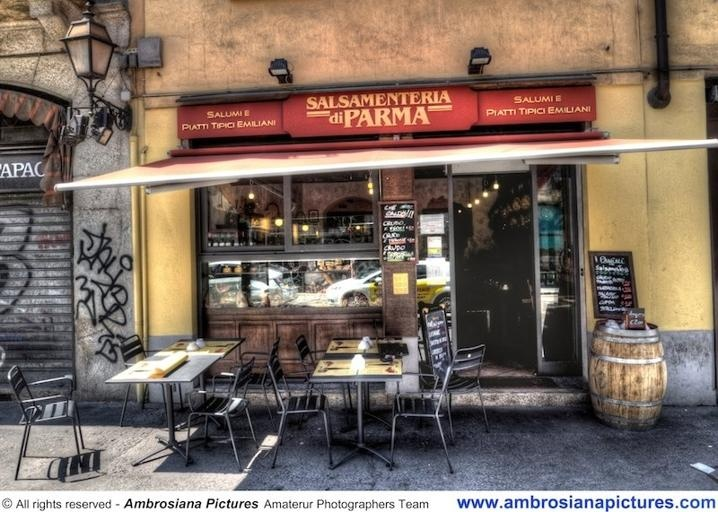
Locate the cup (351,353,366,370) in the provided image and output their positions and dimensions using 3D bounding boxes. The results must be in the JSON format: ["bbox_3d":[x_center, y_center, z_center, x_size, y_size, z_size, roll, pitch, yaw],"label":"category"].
[{"bbox_3d":[-0.004,1.521,9.805,0.176,0.186,0.173,0,-15,0],"label":"cup"}]

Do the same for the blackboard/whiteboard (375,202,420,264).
[{"bbox_3d":[0.666,-0.413,11.526,0.598,1.009,0.403,2,4,2],"label":"blackboard/whiteboard"}]

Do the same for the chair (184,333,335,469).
[{"bbox_3d":[-1.258,2.159,10.376,1.707,1.835,1.752,2,3,6],"label":"chair"}]

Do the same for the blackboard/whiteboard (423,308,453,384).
[{"bbox_3d":[1.206,1.358,10.541,0.361,1.097,0.470,5,6,11],"label":"blackboard/whiteboard"}]

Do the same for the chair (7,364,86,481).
[{"bbox_3d":[-4.687,2.572,10.336,1.432,2.003,1.298,2,7,-15],"label":"chair"}]

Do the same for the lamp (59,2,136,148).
[{"bbox_3d":[-4.269,-2.871,11.152,0.866,2.672,1.000,-1,0,-1],"label":"lamp"}]

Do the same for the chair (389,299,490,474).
[{"bbox_3d":[1.214,1.901,10.412,1.402,2.260,1.147,8,6,0],"label":"chair"}]

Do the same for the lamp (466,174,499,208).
[{"bbox_3d":[2.683,-1.379,14.617,0.736,0.518,0.280,-2,2,41],"label":"lamp"}]

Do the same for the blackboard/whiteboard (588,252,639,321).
[{"bbox_3d":[4.074,0.471,10.909,0.714,1.098,0.118,-1,-1,2],"label":"blackboard/whiteboard"}]

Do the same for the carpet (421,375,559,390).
[{"bbox_3d":[2.624,2.110,11.496,1.882,0.277,0.070,0,-8,-1],"label":"carpet"}]

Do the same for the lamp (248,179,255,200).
[{"bbox_3d":[-1.883,-1.175,12.051,0.129,0.325,0.065,-3,1,29],"label":"lamp"}]

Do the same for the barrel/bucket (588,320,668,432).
[{"bbox_3d":[4.113,1.797,10.815,1.415,1.884,1.463,0,-3,0],"label":"barrel/bucket"}]

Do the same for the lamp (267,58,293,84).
[{"bbox_3d":[-1.262,-3.088,11.336,0.324,0.412,0.440,0,4,3],"label":"lamp"}]

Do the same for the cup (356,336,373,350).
[{"bbox_3d":[0.084,1.345,10.443,0.222,0.141,0.139,1,2,24],"label":"cup"}]
